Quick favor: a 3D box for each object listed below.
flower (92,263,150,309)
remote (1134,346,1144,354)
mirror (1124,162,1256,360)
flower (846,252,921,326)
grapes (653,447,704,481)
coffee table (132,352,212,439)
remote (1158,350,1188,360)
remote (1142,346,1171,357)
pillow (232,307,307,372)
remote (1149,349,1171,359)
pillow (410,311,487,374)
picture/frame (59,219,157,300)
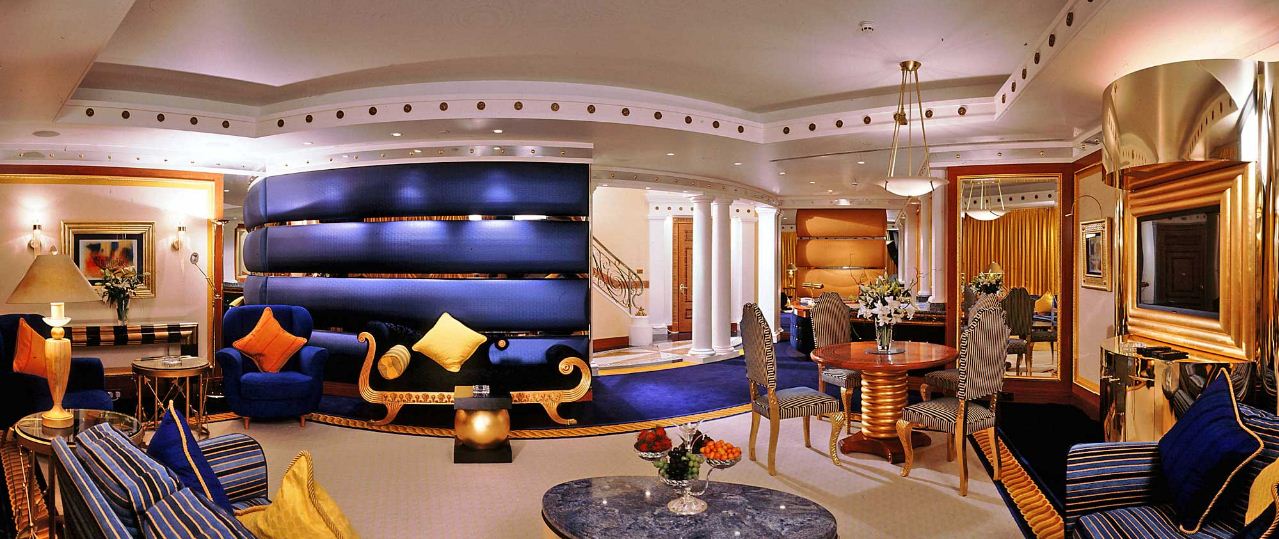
[{"bbox_3d":[-9.381,0.320,12.514,0.995,0.747,0.922,6,2,-34],"label":"flower"},{"bbox_3d":[6.220,1.010,8.571,0.082,0.059,0.038,-6,-16,-9],"label":"remote"},{"bbox_3d":[7.038,-0.072,8.812,0.179,2.134,1.303,-4,1,-37],"label":"mirror"},{"bbox_3d":[4.918,0.381,13.994,1.147,1.590,2.598,-2,-1,-11],"label":"flower"},{"bbox_3d":[0.500,2.331,8.167,0.554,0.241,0.377,-4,12,30],"label":"grapes"},{"bbox_3d":[-7.124,1.957,10.502,1.323,1.245,0.538,1,-1,6],"label":"coffee table"},{"bbox_3d":[6.508,1.059,8.378,0.187,0.038,0.178,-2,0,-23],"label":"remote"},{"bbox_3d":[6.410,1.025,8.556,0.230,0.047,0.212,-2,2,-15],"label":"remote"},{"bbox_3d":[-6.053,1.148,11.262,1.398,0.950,0.779,0,0,23],"label":"pillow"},{"bbox_3d":[6.427,1.037,8.484,0.195,0.038,0.157,-7,4,-3],"label":"remote"},{"bbox_3d":[-3.130,1.215,11.445,0.988,1.113,0.302,-46,-19,-29],"label":"pillow"},{"bbox_3d":[-9.854,-0.190,12.783,0.426,1.442,1.195,3,2,39],"label":"picture/frame"}]
